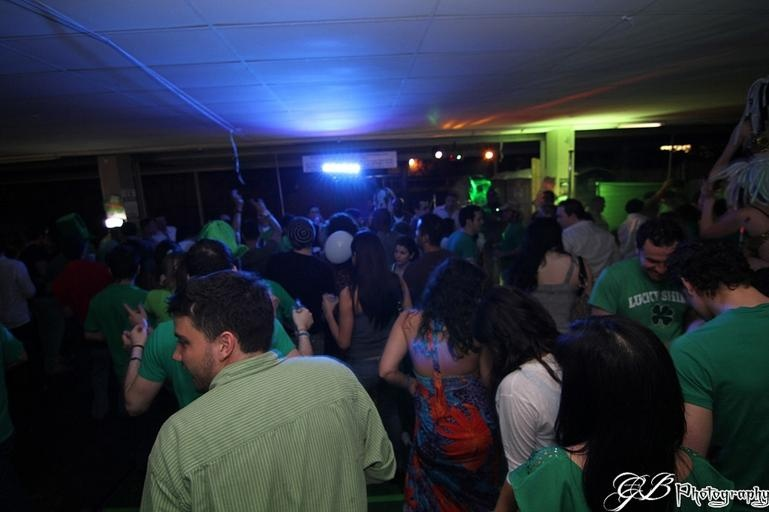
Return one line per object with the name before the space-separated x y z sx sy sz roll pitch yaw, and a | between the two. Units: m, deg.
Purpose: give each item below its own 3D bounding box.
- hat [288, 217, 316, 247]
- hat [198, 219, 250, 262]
hat | -0.790 -0.235 5.150 0.273 0.274 0.067 -14 3 7
hat | -1.456 -0.133 4.813 0.342 0.325 0.487 -14 -21 8
